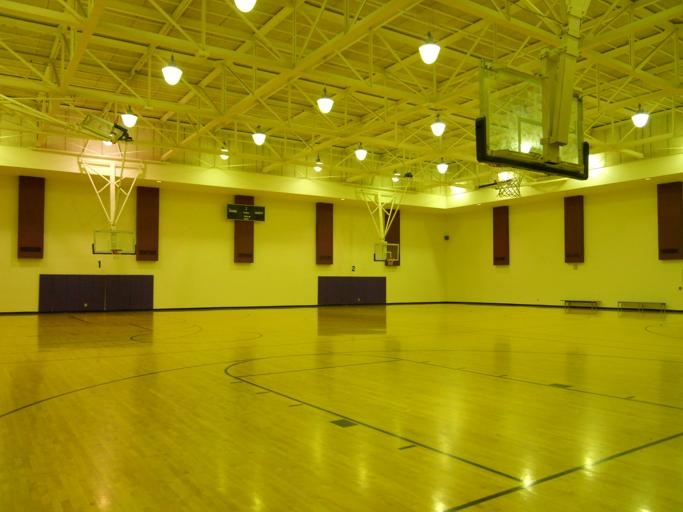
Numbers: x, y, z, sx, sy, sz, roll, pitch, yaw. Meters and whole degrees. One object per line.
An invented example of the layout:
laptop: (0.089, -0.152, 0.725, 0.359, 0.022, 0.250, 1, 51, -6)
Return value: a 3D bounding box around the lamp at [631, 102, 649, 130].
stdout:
lamp: (8.930, -4.251, 16.010, 0.345, 0.724, 1.050, -1, -1, 31)
